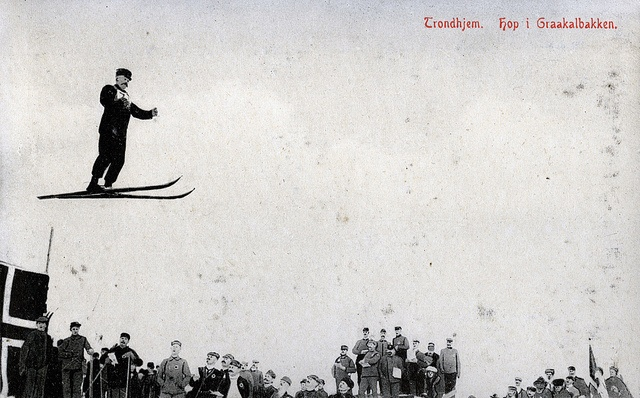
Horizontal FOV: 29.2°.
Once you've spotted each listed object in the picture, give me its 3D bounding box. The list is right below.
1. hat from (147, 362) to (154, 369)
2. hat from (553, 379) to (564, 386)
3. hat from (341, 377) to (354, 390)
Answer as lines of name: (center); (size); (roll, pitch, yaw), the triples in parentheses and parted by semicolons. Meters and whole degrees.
hat: (-2.299, 2.225, 16.619); (0.075, 0.071, 0.076); (2, -2, -19)
hat: (3.215, 2.450, 16.629); (0.102, 0.038, 0.091); (-19, -30, 29)
hat: (0.360, 2.446, 16.647); (0.133, 0.175, 0.132); (-14, -14, -8)
